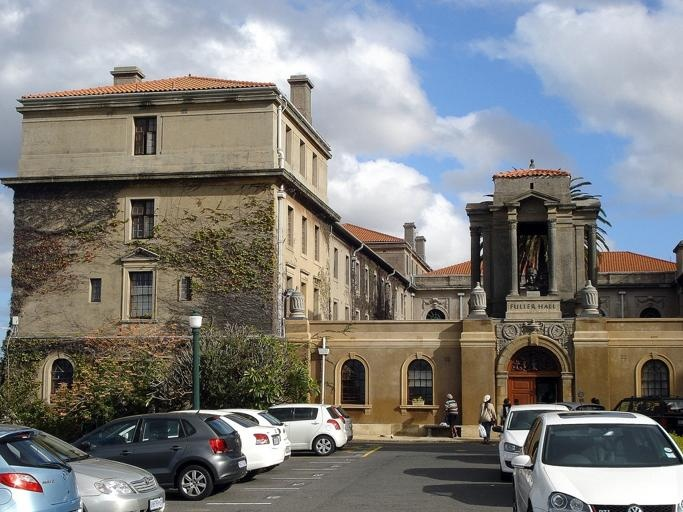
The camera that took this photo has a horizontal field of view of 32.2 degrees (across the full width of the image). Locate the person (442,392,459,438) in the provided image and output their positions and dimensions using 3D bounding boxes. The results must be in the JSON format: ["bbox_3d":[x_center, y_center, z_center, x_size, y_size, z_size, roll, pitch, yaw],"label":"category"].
[{"bbox_3d":[4.830,6.947,51.282,0.586,1.960,1.559,0,-9,5],"label":"person"}]

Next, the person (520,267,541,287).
[{"bbox_3d":[9.560,1.190,59.590,0.842,1.183,1.306,1,-9,-3],"label":"person"}]
